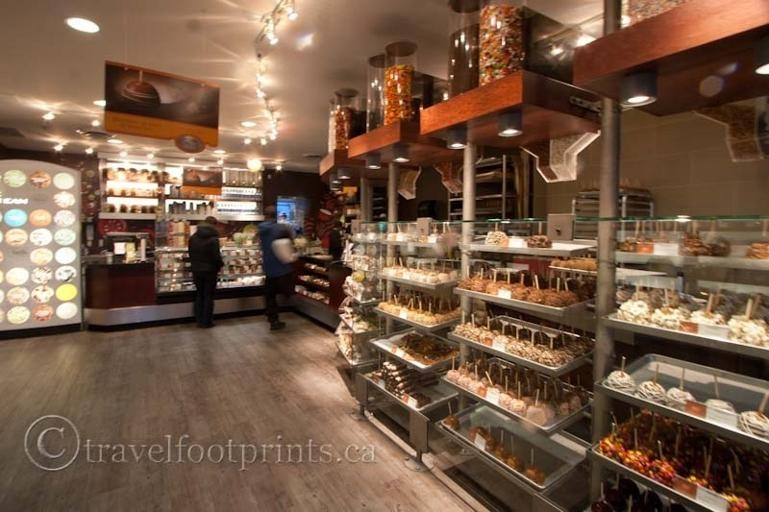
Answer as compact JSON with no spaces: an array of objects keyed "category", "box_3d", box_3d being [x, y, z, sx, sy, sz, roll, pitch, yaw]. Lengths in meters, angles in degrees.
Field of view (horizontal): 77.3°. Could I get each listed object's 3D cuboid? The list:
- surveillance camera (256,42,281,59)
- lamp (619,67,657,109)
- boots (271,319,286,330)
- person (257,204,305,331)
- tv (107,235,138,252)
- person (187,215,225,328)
[{"category":"surveillance camera","box_3d":[-1.107,-1.980,4.587,0.170,0.036,0.152,0,-7,-40]},{"category":"lamp","box_3d":[1.571,-1.036,2.970,0.187,0.185,0.193,2,4,28]},{"category":"boots","box_3d":[-1.676,1.084,7.560,0.256,0.141,0.190,-2,4,-42]},{"category":"person","box_3d":[-1.739,0.166,7.840,0.555,1.934,0.898,0,4,-11]},{"category":"tv","box_3d":[-4.440,-0.223,8.110,0.419,0.284,1.522,-1,3,-32]},{"category":"person","box_3d":[-2.830,0.244,7.622,0.497,1.761,0.380,-1,4,-18]}]
